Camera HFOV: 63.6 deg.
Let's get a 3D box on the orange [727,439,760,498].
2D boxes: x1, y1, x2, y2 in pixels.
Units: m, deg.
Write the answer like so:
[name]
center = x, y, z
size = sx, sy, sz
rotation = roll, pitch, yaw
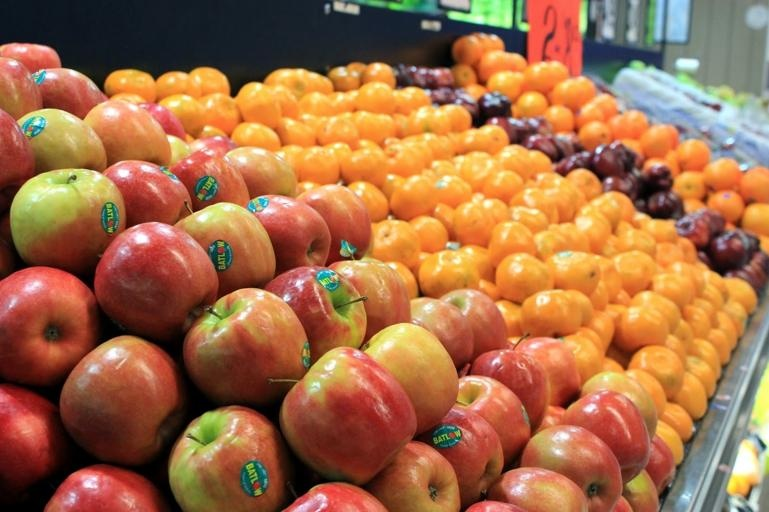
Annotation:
[orange]
center = 1.530, 0.893, 2.613
size = 0.084, 0.245, 0.239
rotation = -9, 28, 34
